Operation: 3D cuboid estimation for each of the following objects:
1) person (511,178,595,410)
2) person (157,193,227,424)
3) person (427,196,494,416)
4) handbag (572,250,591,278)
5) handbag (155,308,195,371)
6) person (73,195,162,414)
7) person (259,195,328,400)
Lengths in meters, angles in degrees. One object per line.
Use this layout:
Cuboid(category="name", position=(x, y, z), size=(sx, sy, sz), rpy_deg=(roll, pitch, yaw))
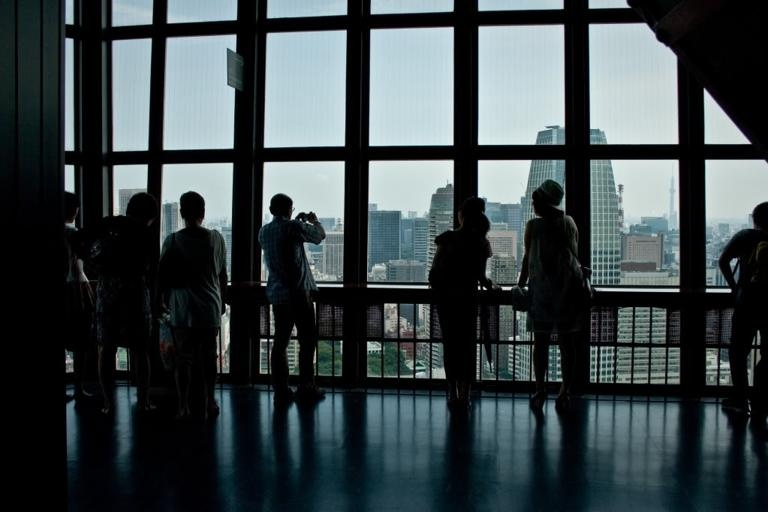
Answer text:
Cuboid(category="person", position=(1.555, 0.368, 8.482), size=(0.676, 2.154, 0.391), rpy_deg=(-4, -8, 26))
Cuboid(category="person", position=(-1.739, 0.455, 8.233), size=(0.619, 2.033, 0.477), rpy_deg=(2, -8, -20))
Cuboid(category="person", position=(0.713, 0.315, 8.538), size=(0.585, 1.706, 0.300), rpy_deg=(-1, -7, 6))
Cuboid(category="handbag", position=(1.878, 0.075, 8.714), size=(0.077, 0.249, 0.266), rpy_deg=(-8, 6, 19))
Cuboid(category="handbag", position=(-1.874, 0.730, 8.189), size=(0.271, 0.938, 0.220), rpy_deg=(-12, 27, -26))
Cuboid(category="person", position=(-2.382, 0.428, 8.209), size=(0.673, 1.935, 0.519), rpy_deg=(0, -7, -5))
Cuboid(category="person", position=(-0.894, 0.419, 8.637), size=(0.606, 1.987, 0.519), rpy_deg=(2, -8, -21))
